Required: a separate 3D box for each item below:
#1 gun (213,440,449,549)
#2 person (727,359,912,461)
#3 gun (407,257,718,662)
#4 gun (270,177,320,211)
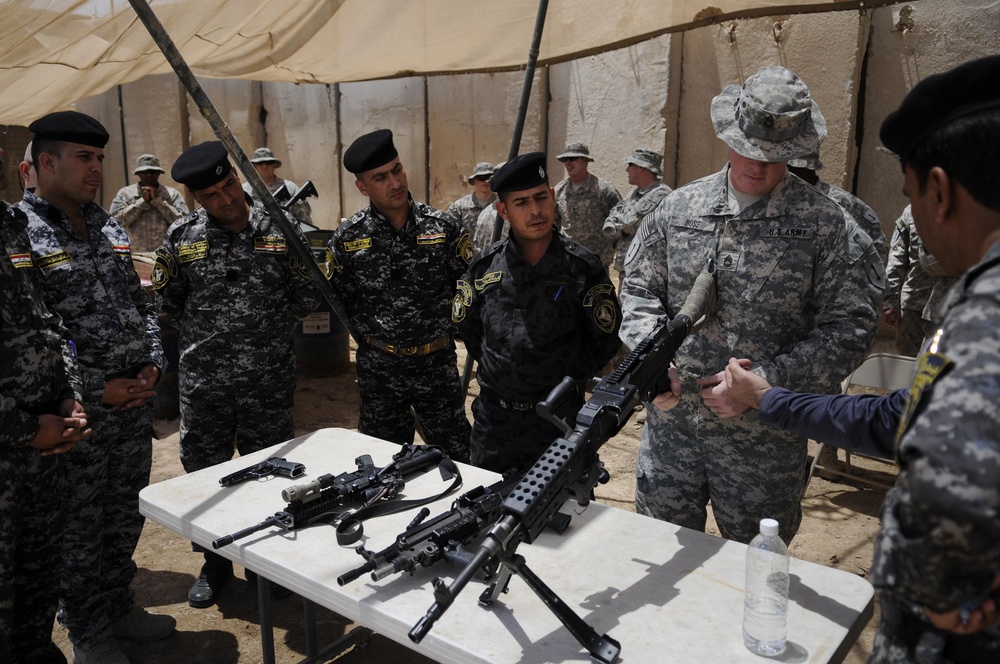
[{"bbox_3d":[-0.674,0.824,4.886,0.504,0.199,0.844,13,21,42],"label":"gun"},{"bbox_3d":[1.531,0.360,4.407,1.081,0.343,0.238,11,3,-4],"label":"person"},{"bbox_3d":[0.364,0.613,4.451,0.752,0.907,2.108,18,50,37],"label":"gun"},{"bbox_3d":[-1.324,-0.879,6.042,0.266,0.178,0.242,-4,13,-11],"label":"gun"}]
